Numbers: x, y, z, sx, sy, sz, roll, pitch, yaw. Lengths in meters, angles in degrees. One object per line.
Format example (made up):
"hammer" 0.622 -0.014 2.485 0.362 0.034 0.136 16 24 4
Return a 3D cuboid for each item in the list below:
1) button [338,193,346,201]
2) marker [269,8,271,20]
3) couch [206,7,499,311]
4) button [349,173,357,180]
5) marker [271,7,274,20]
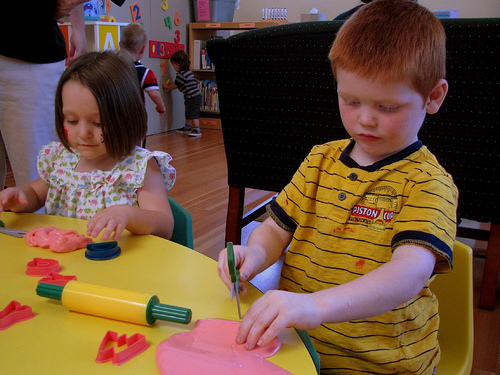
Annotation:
"button" 0.198 0.020 0.886 0.017 0.015 0.008 10 22 25
"marker" 0.240 -2.095 5.003 0.025 0.105 0.047 1 20 2
"couch" 0.421 -0.107 2.167 1.163 1.451 1.188 3 16 21
"button" 0.222 -0.022 0.884 0.011 0.013 0.018 -10 23 -26
"marker" 0.273 -2.092 4.995 0.031 0.105 0.040 1 20 2
